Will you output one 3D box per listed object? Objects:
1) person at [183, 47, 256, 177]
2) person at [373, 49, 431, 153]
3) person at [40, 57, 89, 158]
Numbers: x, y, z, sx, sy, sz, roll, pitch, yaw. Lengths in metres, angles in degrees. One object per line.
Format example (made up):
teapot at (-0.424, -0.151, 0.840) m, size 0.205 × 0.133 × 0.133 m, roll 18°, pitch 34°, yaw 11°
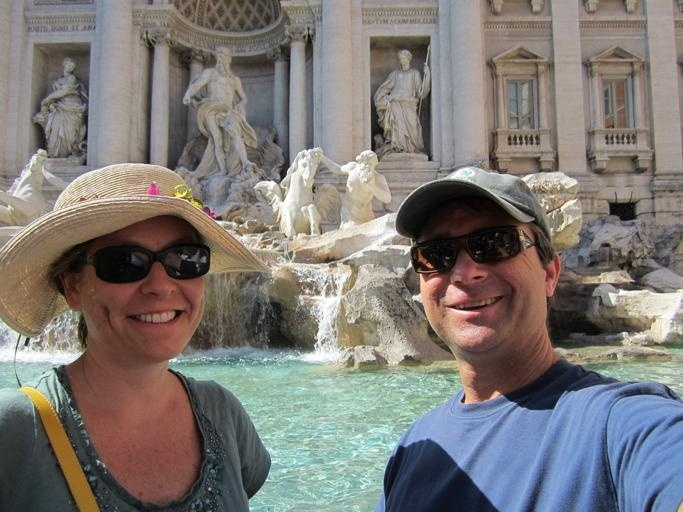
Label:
person at (-3.147, -3.817, 20.112) m, size 1.659 × 3.423 × 1.027 m, roll -2°, pitch 5°, yaw -11°
person at (1.645, -4.070, 20.355) m, size 1.432 × 2.742 × 0.702 m, roll -1°, pitch 5°, yaw 5°
person at (-7.447, -4.030, 20.831) m, size 1.219 × 2.689 × 0.902 m, roll -3°, pitch 5°, yaw -16°
